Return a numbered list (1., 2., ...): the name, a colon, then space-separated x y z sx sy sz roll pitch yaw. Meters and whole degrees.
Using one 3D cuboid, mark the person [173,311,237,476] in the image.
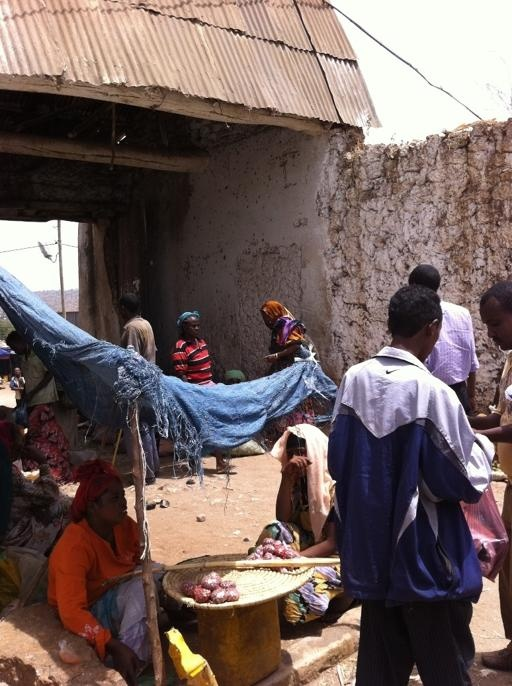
1. person: -0.658 0.376 6.943 0.574 1.559 0.602 12 12 36
